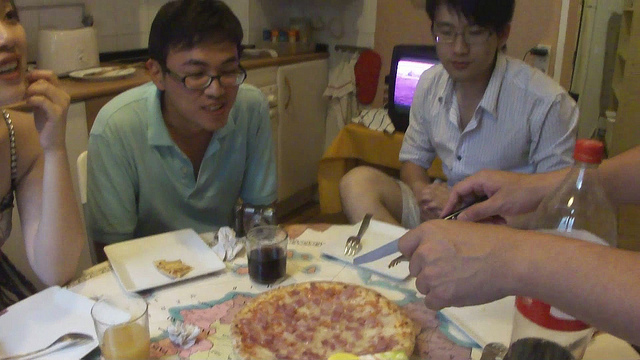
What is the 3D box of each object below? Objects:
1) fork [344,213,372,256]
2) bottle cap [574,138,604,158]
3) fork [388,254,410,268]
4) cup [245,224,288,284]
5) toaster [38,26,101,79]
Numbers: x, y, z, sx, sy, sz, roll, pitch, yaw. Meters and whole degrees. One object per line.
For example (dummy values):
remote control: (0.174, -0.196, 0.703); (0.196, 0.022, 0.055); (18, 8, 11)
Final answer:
fork: (0.187, 0.250, 2.354); (0.058, 0.044, 0.310); (7, 30, 23)
bottle cap: (0.907, -0.114, 1.678); (0.073, 0.043, 0.071); (-12, 23, -38)
fork: (0.342, 0.349, 2.141); (0.083, 0.057, 0.045); (-2, 19, 6)
cup: (-0.197, 0.304, 2.159); (0.228, 0.230, 0.224); (1, 20, 0)
toaster: (-1.951, -1.019, 3.851); (0.189, 0.353, 0.514); (17, 26, 12)
